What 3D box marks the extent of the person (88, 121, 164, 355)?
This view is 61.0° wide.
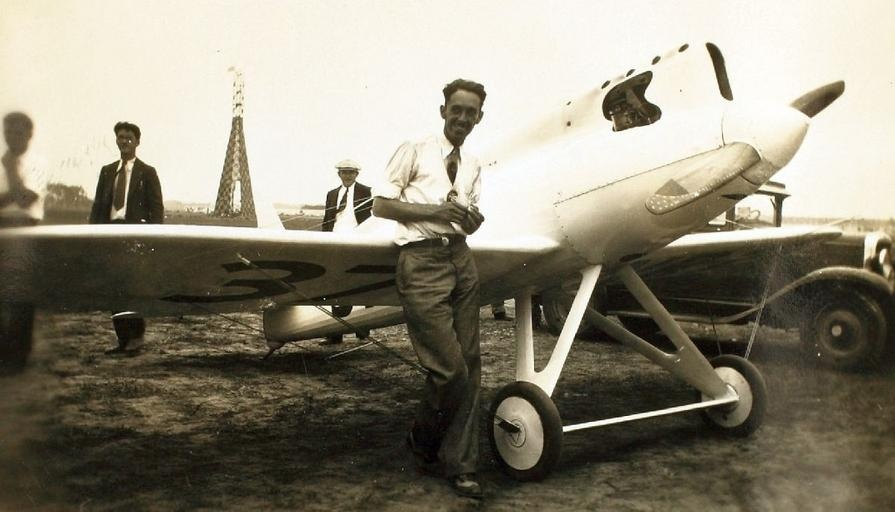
[{"bbox_3d":[-2.193,-0.106,5.231,0.476,1.607,0.584,-3,6,-17],"label":"person"}]

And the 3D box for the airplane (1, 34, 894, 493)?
[{"bbox_3d":[-0.074,-0.200,5.351,4.040,1.658,4.224,3,4,38],"label":"airplane"}]

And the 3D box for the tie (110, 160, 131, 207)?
[{"bbox_3d":[-2.184,-0.475,5.031,0.101,0.316,0.051,-3,7,-22],"label":"tie"}]

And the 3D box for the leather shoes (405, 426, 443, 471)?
[{"bbox_3d":[-0.148,1.313,5.221,0.228,0.291,0.102,-13,-2,38],"label":"leather shoes"}]

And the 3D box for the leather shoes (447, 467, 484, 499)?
[{"bbox_3d":[0.134,1.529,5.080,0.122,0.121,0.278,4,-8,-39],"label":"leather shoes"}]

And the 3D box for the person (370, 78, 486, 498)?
[{"bbox_3d":[-0.086,0.195,5.129,0.694,2.747,0.478,-1,6,2],"label":"person"}]
